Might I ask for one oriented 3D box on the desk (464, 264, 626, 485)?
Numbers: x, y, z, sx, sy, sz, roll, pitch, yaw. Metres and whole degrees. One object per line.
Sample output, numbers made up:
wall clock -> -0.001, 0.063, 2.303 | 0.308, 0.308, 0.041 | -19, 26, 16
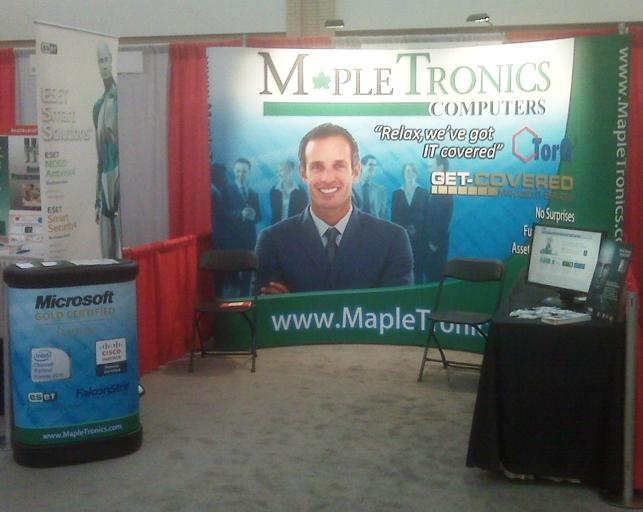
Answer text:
desk -> 1.349, 0.586, 3.799 | 0.700, 0.661, 1.220 | 3, 4, 18

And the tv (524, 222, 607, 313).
tv -> 1.603, 0.091, 4.193 | 0.148, 0.525, 0.462 | 8, -1, -36

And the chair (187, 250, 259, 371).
chair -> -0.909, 0.439, 5.945 | 0.703, 1.390, 0.933 | 0, -1, -3

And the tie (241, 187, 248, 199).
tie -> -0.726, -0.578, 6.079 | 0.095, 0.154, 0.019 | -3, 9, -16
